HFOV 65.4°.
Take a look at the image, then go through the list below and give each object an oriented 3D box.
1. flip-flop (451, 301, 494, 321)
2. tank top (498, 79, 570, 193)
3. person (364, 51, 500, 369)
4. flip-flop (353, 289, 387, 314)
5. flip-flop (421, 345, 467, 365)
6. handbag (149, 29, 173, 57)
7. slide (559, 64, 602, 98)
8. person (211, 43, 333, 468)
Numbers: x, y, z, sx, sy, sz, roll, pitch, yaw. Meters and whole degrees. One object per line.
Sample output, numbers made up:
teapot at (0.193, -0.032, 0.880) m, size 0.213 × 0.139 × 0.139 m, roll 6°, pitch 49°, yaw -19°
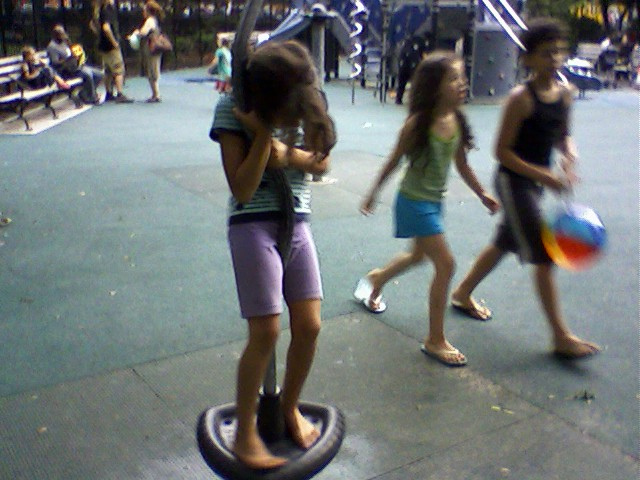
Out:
flip-flop at (1.288, 0.600, 4.201) m, size 0.347 × 0.146 × 0.119 m, roll 8°, pitch 22°, yaw 31°
tank top at (1.564, -0.812, 3.526) m, size 0.277 × 0.592 × 0.440 m, roll 18°, pitch 30°, yaw 38°
person at (0.803, -0.251, 3.648) m, size 0.878 × 2.066 × 1.045 m, roll 7°, pitch 24°, yaw 19°
flip-flop at (0.434, 0.507, 4.291) m, size 0.063 × 0.160 × 0.263 m, roll -36°, pitch 67°, yaw -26°
flip-flop at (0.883, 0.795, 3.564) m, size 0.269 × 0.118 × 0.101 m, roll 5°, pitch 16°, yaw 32°
handbag at (-4.414, -5.343, 13.688) m, size 0.568 × 0.555 × 0.666 m, roll -8°, pitch 24°, yaw -16°
slide at (8.587, -5.187, 16.460) m, size 2.058 × 0.969 × 0.761 m, roll -21°, pitch 30°, yaw -38°
person at (-0.207, 0.135, 2.353) m, size 0.533 × 1.955 × 0.651 m, roll 0°, pitch 23°, yaw 1°
